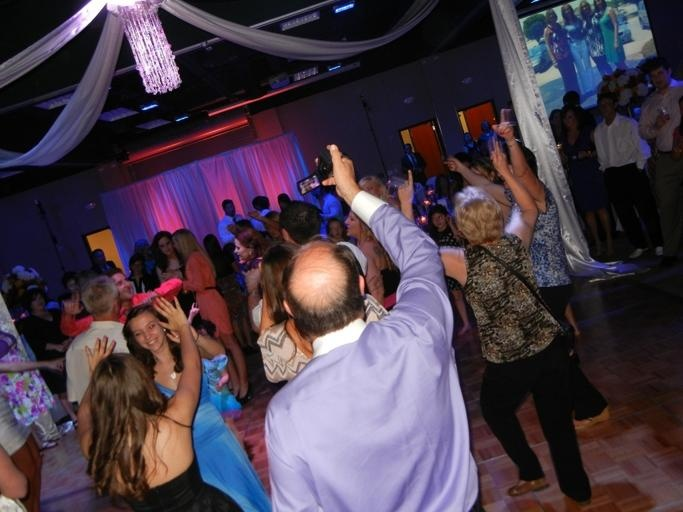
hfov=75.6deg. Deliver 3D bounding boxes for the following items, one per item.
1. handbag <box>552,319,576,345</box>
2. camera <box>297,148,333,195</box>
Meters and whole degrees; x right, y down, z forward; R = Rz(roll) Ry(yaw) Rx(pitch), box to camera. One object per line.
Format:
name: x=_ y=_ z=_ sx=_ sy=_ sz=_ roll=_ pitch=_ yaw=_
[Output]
handbag: x=1.297 y=0.447 z=2.610 sx=0.043 sy=0.158 sz=0.146 roll=-19 pitch=-29 yaw=37
camera: x=-0.105 y=-0.392 z=2.097 sx=0.206 sy=0.232 sz=0.073 roll=-18 pitch=-31 yaw=17
